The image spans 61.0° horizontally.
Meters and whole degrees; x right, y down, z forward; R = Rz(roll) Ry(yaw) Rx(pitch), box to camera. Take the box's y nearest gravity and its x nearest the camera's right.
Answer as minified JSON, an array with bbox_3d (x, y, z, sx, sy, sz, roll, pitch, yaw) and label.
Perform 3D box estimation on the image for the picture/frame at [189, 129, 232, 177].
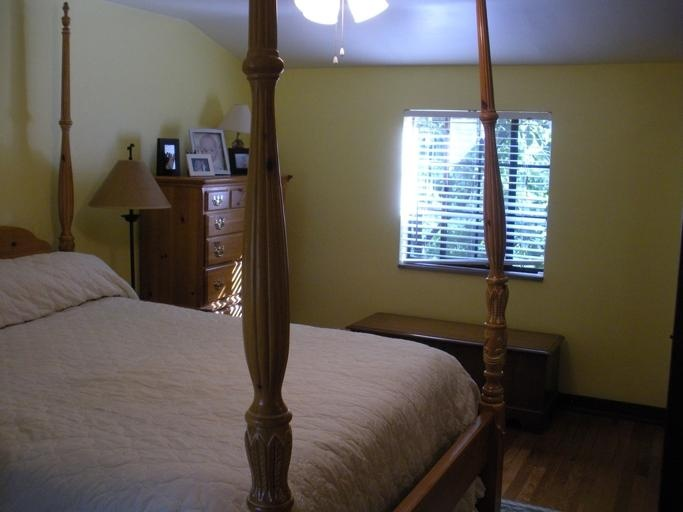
[{"bbox_3d":[-0.969,-0.740,4.248,0.025,0.436,0.345,-11,2,28],"label":"picture/frame"}]

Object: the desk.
[{"bbox_3d":[0.842,0.896,4.407,1.465,0.686,0.538,3,7,30],"label":"desk"}]

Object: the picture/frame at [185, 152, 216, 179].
[{"bbox_3d":[-0.997,-0.639,4.130,0.016,0.185,0.227,-6,3,28],"label":"picture/frame"}]
